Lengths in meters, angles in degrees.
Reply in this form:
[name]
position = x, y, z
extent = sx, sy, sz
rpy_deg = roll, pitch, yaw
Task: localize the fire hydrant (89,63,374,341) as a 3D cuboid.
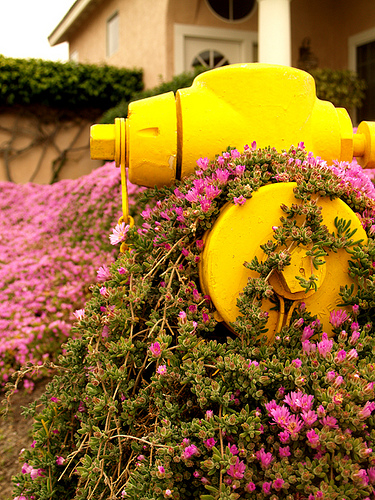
[fire hydrant]
position = 0.201, -0.172, 2.060
extent = 0.891, 0.791, 0.596
rpy_deg = 0, 11, -15
